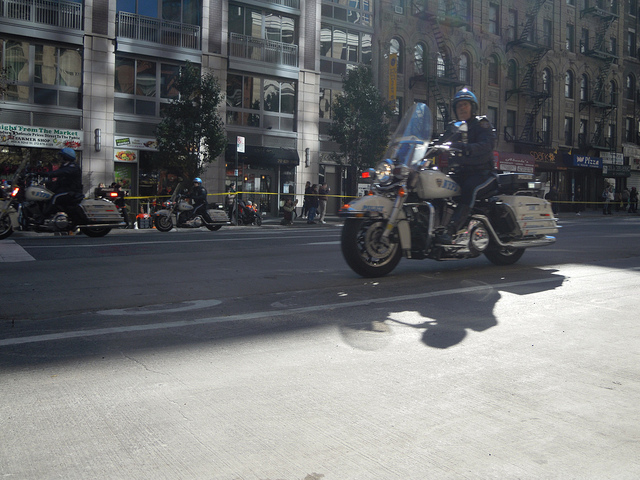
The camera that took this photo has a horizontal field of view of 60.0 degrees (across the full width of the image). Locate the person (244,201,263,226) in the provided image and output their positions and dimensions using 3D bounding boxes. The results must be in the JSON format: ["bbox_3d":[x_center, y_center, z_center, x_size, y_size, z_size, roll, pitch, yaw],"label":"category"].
[{"bbox_3d":[-2.944,-1.138,24.571,0.701,1.043,0.356,0,5,-1],"label":"person"}]

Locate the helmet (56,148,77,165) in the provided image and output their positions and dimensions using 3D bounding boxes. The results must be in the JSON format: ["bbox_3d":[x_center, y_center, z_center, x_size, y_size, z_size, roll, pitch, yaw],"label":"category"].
[{"bbox_3d":[-6.310,-2.126,14.052,0.515,0.448,0.381,4,35,-29],"label":"helmet"}]

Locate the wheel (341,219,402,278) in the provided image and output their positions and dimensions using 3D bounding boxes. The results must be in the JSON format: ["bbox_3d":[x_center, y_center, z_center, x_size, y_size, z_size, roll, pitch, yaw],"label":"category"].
[{"bbox_3d":[0.675,0.100,7.226,0.871,0.707,0.236,4,8,-18],"label":"wheel"}]

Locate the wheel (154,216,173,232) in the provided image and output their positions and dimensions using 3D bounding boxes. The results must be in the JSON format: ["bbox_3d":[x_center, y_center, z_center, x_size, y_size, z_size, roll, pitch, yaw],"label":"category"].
[{"bbox_3d":[-5.114,-0.516,18.355,0.569,0.490,0.191,-2,4,-25],"label":"wheel"}]

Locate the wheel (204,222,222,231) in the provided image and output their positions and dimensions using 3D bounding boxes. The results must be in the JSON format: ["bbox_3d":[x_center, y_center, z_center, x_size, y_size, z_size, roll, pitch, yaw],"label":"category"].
[{"bbox_3d":[-3.646,-0.429,18.971,0.615,0.298,0.465,-2,6,-23],"label":"wheel"}]

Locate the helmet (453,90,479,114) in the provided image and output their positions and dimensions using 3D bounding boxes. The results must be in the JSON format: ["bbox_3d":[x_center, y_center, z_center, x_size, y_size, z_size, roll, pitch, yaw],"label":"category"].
[{"bbox_3d":[2.052,-2.001,7.941,0.351,0.309,0.383,-3,-6,32],"label":"helmet"}]

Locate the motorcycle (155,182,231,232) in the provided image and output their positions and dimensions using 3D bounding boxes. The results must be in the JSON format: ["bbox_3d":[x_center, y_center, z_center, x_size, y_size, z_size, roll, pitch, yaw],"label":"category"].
[{"bbox_3d":[-4.319,-1.027,18.801,2.354,1.536,1.213,-1,5,-15],"label":"motorcycle"}]

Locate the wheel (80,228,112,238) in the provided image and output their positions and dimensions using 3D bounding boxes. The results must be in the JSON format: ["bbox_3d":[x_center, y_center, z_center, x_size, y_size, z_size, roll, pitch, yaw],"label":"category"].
[{"bbox_3d":[-5.899,-0.172,14.762,0.681,0.224,0.680,0,5,0],"label":"wheel"}]
